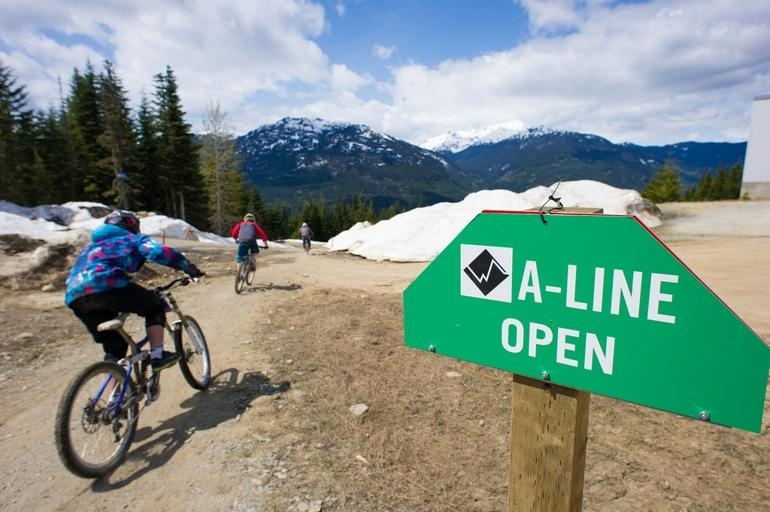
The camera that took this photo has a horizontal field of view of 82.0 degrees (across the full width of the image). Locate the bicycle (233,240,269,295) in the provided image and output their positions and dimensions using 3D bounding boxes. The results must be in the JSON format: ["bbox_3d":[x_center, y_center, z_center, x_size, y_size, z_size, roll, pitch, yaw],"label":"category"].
[{"bbox_3d":[-4.181,0.327,13.398,0.754,0.952,1.516,3,17,-1],"label":"bicycle"}]

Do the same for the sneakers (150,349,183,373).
[{"bbox_3d":[-3.513,1.655,7.208,0.185,0.243,0.525,-1,16,45],"label":"sneakers"}]
